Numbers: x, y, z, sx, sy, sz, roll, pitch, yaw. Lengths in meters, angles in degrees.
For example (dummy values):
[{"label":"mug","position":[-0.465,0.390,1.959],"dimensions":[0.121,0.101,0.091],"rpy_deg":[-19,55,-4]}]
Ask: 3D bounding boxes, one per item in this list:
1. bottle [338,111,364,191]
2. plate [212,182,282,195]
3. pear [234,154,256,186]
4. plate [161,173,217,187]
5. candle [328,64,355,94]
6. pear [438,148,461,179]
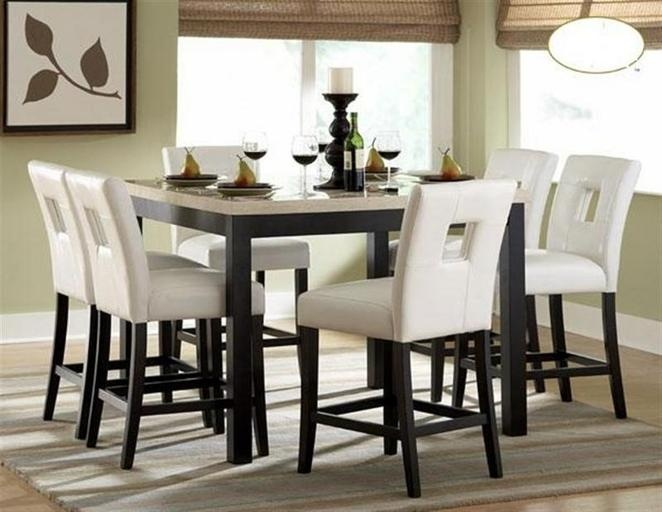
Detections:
[{"label":"bottle","position":[0.097,-0.445,2.818],"dimensions":[0.084,0.344,0.241],"rpy_deg":[0,5,2]},{"label":"plate","position":[-0.336,-0.264,2.634],"dimensions":[0.214,0.050,0.287],"rpy_deg":[0,5,-7]},{"label":"pear","position":[-0.336,-0.327,2.604],"dimensions":[0.073,0.110,0.076],"rpy_deg":[2,6,17]},{"label":"plate","position":[-0.616,-0.334,2.938],"dimensions":[0.230,0.057,0.209],"rpy_deg":[-1,5,-15]},{"label":"candle","position":[0.052,-0.780,2.921],"dimensions":[0.103,0.117,0.102],"rpy_deg":[-3,11,-21]},{"label":"pear","position":[0.499,-0.379,2.793],"dimensions":[0.077,0.123,0.203],"rpy_deg":[1,5,9]}]
